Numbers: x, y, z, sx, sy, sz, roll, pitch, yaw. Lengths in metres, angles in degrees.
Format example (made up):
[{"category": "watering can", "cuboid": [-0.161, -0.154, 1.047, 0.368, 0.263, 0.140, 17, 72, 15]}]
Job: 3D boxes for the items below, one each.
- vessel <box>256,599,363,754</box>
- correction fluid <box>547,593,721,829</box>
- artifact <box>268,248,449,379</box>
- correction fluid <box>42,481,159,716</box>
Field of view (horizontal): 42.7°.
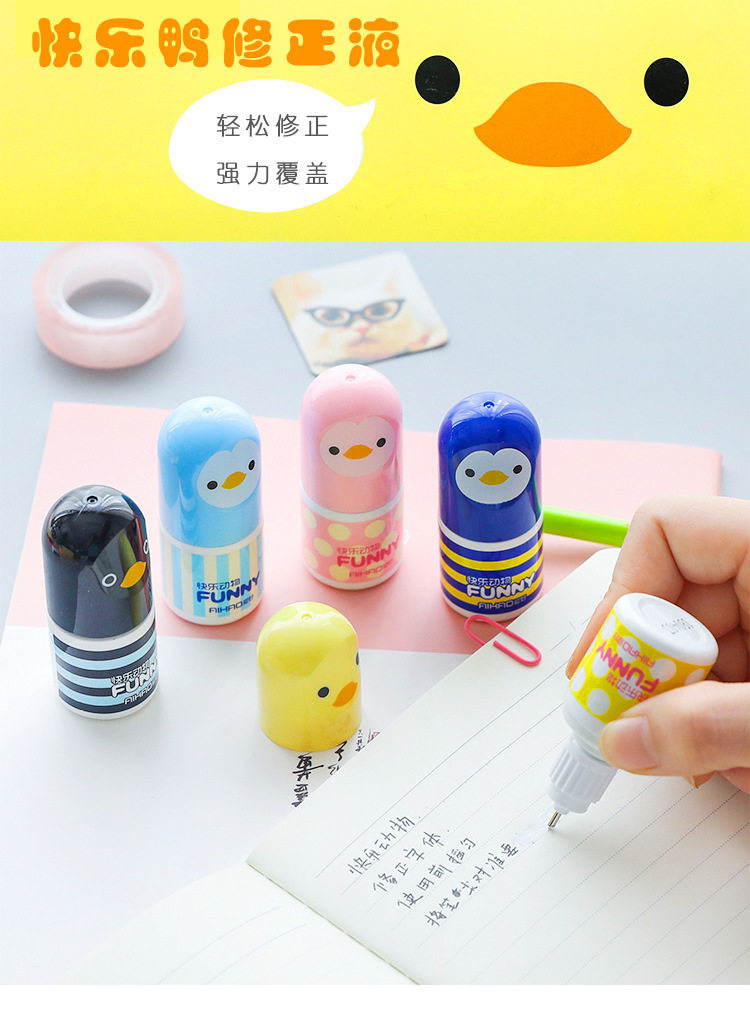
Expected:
[{"category": "vessel", "cuboid": [-0.034, 0.088, 0.489, 0.055, 0.073, 0.052, -7, 53, -4]}, {"category": "correction fluid", "cuboid": [0.096, 0.091, 0.399, 0.046, 0.101, 0.046, 31, 12, 12]}, {"category": "artifact", "cuboid": [-0.012, -0.171, 0.813, 0.126, 0.055, 0.122, -12, 35, -16]}, {"category": "correction fluid", "cuboid": [-0.145, 0.050, 0.500, 0.054, 0.117, 0.050, -10, 33, -28]}]
